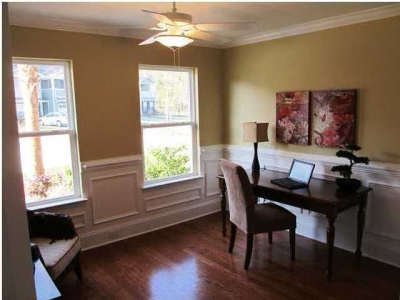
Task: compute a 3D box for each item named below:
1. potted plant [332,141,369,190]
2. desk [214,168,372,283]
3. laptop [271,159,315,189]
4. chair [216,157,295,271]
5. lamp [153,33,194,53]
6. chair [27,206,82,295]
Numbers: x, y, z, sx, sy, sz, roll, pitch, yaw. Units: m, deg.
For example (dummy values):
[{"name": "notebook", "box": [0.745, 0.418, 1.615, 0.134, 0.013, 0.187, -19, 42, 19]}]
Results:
[{"name": "potted plant", "box": [1.540, 0.166, 3.044, 0.327, 0.441, 0.462, 5, 14, 29]}, {"name": "desk", "box": [1.104, 0.454, 3.123, 0.891, 0.848, 1.669, -8, 11, -42]}, {"name": "laptop", "box": [1.010, 0.275, 3.194, 0.339, 0.218, 0.370, -5, 10, -16]}, {"name": "chair", "box": [0.597, 0.635, 3.208, 0.729, 0.997, 0.573, 0, 4, -10]}, {"name": "lamp", "box": [-0.190, -0.852, 2.343, 0.274, 0.074, 0.308, 4, 13, 27]}, {"name": "chair", "box": [-1.313, 0.931, 2.731, 0.398, 0.696, 0.665, -9, 14, -30]}]
